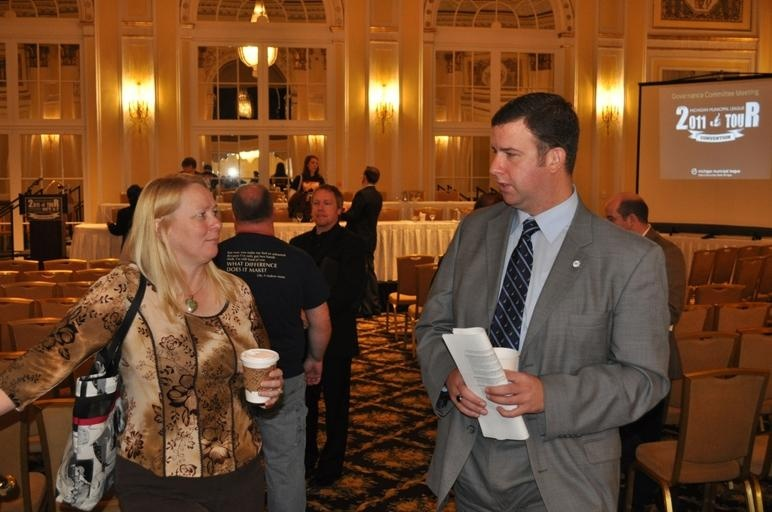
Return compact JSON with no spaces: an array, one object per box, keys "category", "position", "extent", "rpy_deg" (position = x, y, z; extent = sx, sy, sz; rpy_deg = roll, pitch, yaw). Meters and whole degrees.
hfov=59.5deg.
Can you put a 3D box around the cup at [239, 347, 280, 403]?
[{"category":"cup","position":[-0.535,0.512,2.868],"extent":[0.186,0.205,0.192],"rpy_deg":[4,3,0]}]

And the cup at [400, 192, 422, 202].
[{"category":"cup","position":[0.521,-1.205,13.779],"extent":[0.254,0.182,0.261],"rpy_deg":[0,1,0]}]

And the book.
[{"category":"book","position":[0.345,0.438,2.690],"extent":[0.375,0.243,0.358],"rpy_deg":[14,5,-11]}]

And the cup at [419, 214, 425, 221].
[{"category":"cup","position":[0.612,-0.655,11.346],"extent":[0.116,0.122,0.115],"rpy_deg":[0,-1,0]}]

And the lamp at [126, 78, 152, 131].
[{"category":"lamp","position":[-5.039,-3.075,13.729],"extent":[0.589,0.899,0.594],"rpy_deg":[1,24,-18]}]

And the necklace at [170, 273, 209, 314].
[{"category":"necklace","position":[-0.834,0.151,2.862],"extent":[0.128,0.176,0.047],"rpy_deg":[1,-11,-30]}]

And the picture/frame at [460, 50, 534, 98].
[{"category":"picture/frame","position":[2.507,-3.827,14.989],"extent":[1.914,1.426,0.078],"rpy_deg":[5,2,11]}]
